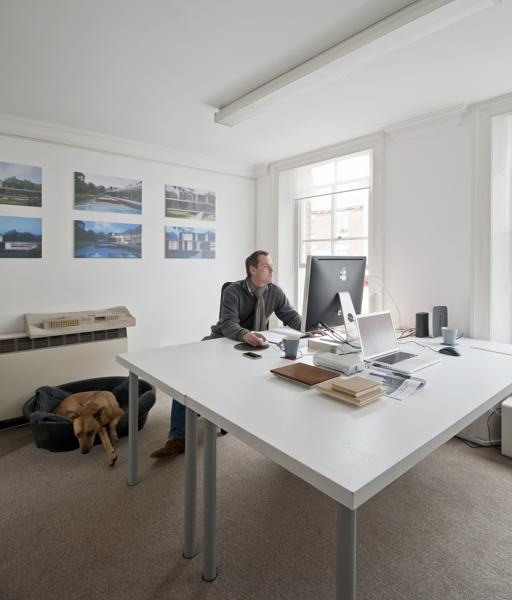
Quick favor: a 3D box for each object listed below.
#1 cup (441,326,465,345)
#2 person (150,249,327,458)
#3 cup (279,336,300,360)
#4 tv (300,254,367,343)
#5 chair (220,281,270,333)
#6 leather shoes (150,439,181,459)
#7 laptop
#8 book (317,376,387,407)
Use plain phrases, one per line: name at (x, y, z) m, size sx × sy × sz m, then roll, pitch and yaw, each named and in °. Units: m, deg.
cup at (1.062, 0.194, 2.545) m, size 0.139 × 0.098 × 0.095 m, roll 6°, pitch -6°, yaw -44°
person at (-0.073, 0.312, 2.883) m, size 0.965 × 1.189 × 0.674 m, roll 6°, pitch -1°, yaw 1°
cup at (0.157, 0.217, 2.176) m, size 0.103 × 0.096 × 0.071 m, roll -2°, pitch -1°, yaw 37°
tv at (0.376, 0.003, 2.261) m, size 0.467 × 0.394 × 0.182 m, roll -4°, pitch 10°, yaw -40°
chair at (-0.018, 0.052, 2.821) m, size 0.345 × 0.318 × 0.309 m, roll 1°, pitch 7°, yaw -44°
leather shoes at (-0.499, 0.851, 2.696) m, size 0.207 × 0.103 × 0.075 m, roll 2°, pitch -4°, yaw -31°
laptop at (0.630, 0.174, 2.044) m, size 0.328 × 0.187 × 0.282 m, roll -5°, pitch 10°, yaw -44°
book at (0.329, 0.314, 1.646) m, size 0.127 × 0.029 × 0.118 m, roll -7°, pitch 10°, yaw -39°
